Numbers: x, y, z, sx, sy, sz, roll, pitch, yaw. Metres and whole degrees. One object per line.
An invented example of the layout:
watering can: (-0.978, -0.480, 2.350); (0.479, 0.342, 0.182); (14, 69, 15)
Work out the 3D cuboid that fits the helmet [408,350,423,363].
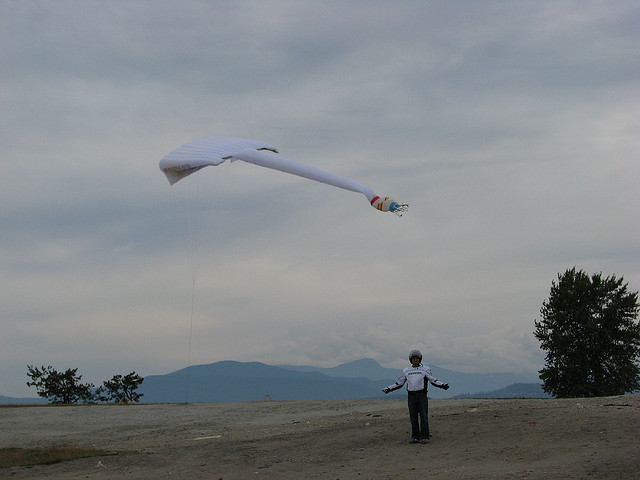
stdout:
helmet: (3.458, 4.266, 28.561); (0.394, 0.436, 0.509); (-6, -5, 1)
